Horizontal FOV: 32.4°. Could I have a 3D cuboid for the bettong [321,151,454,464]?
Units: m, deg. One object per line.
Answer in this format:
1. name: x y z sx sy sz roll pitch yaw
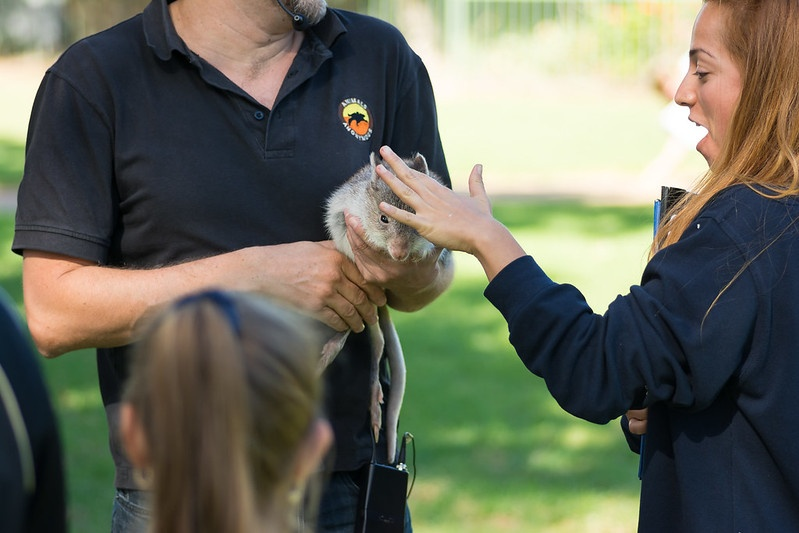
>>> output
1. bettong: -0.107 0.134 8.526 0.806 1.895 0.882 -8 18 -28
